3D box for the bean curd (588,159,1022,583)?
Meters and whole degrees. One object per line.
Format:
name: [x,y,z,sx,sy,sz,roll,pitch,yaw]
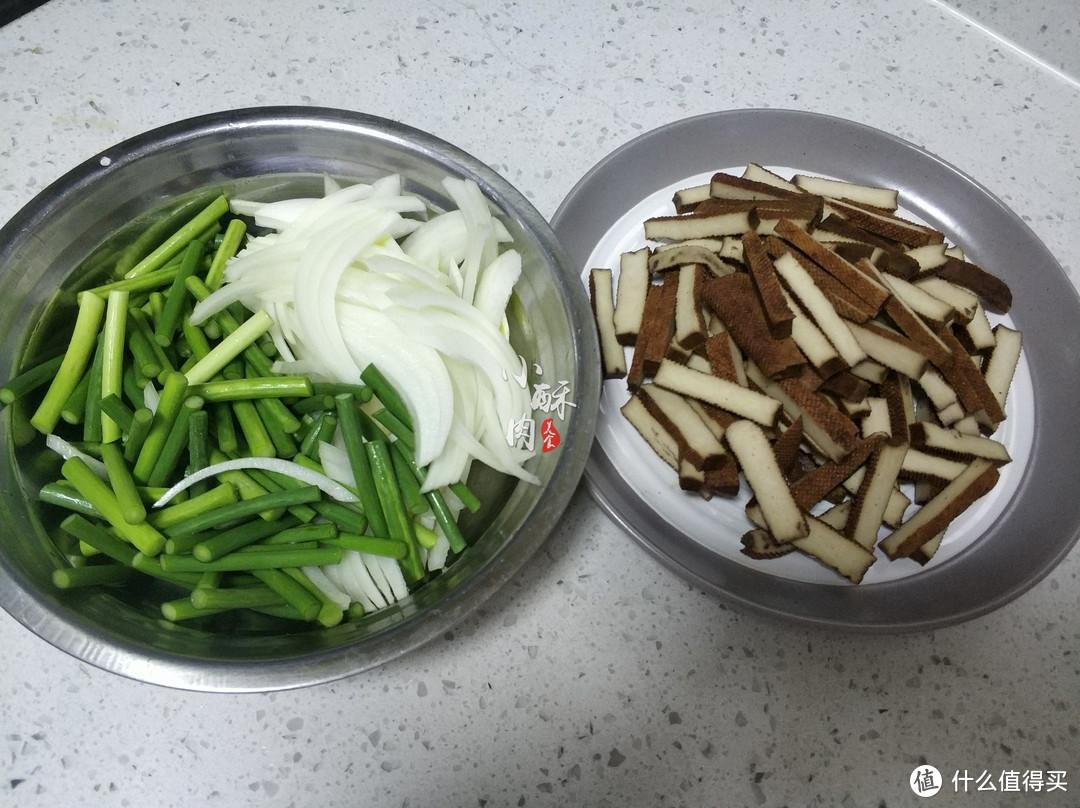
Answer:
bean curd: [0.501,-0.101,1.744,0.712,0.205,0.808,-42,77,-7]
